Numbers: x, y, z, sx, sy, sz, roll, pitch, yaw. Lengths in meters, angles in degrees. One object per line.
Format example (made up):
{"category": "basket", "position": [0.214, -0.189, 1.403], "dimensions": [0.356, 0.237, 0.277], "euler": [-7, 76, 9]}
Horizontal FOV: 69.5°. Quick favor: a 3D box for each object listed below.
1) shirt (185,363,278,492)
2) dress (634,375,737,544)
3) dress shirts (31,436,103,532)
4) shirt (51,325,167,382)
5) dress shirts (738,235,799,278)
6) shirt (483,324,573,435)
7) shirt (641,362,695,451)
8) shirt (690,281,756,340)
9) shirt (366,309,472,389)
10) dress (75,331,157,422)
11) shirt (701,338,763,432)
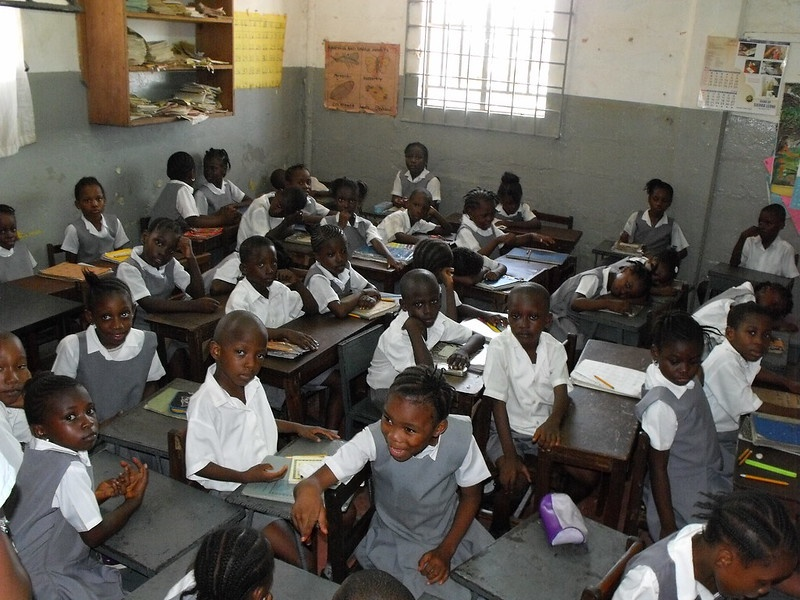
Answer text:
{"category": "shirt", "position": [-0.633, 0.492, 2.163], "dimensions": [0.197, 0.362, 0.390], "euler": [6, 17, 29]}
{"category": "dress", "position": [1.153, 0.626, 2.385], "dimensions": [0.336, 0.652, 0.298], "euler": [-18, 42, 7]}
{"category": "dress shirts", "position": [-1.053, 0.581, 1.811], "dimensions": [0.104, 0.193, 0.215], "euler": [-10, 36, -44]}
{"category": "shirt", "position": [-1.397, 0.286, 2.797], "dimensions": [0.496, 0.365, 0.239], "euler": [-3, 31, -36]}
{"category": "dress shirts", "position": [3.052, -0.355, 4.815], "dimensions": [0.308, 0.261, 0.130], "euler": [16, 21, 40]}
{"category": "shirt", "position": [0.581, 0.384, 2.649], "dimensions": [0.455, 0.476, 0.243], "euler": [-4, 7, -10]}
{"category": "shirt", "position": [1.086, 0.439, 2.324], "dimensions": [0.104, 0.132, 0.333], "euler": [4, 37, 29]}
{"category": "shirt", "position": [1.890, 0.055, 3.358], "dimensions": [0.432, 0.150, 0.201], "euler": [-29, 31, -7]}
{"category": "shirt", "position": [0.114, 0.233, 3.014], "dimensions": [0.578, 0.379, 0.285], "euler": [-17, 28, -39]}
{"category": "dress", "position": [-1.296, 0.345, 2.615], "dimensions": [0.173, 0.350, 0.318], "euler": [25, 24, 33]}
{"category": "shirt", "position": [1.602, 0.416, 2.796], "dimensions": [0.260, 0.413, 0.504], "euler": [-1, 17, 31]}
